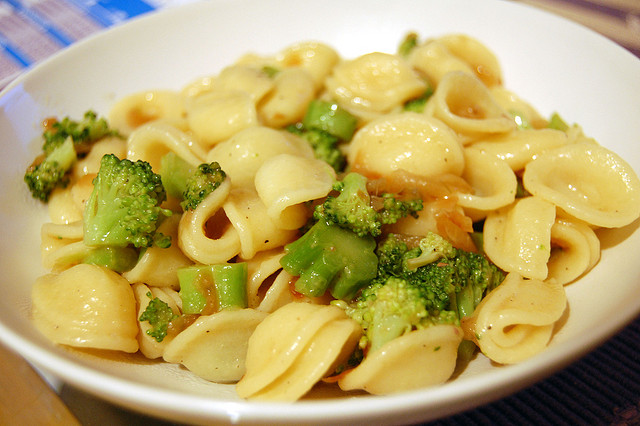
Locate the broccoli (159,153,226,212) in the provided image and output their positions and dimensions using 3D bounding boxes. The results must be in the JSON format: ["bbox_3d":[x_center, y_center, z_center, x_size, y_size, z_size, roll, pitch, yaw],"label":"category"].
[{"bbox_3d":[-0.534,-0.129,2.299,0.256,0.076,0.255,-40,43,10],"label":"broccoli"}]

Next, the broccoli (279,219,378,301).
[{"bbox_3d":[0.054,0.189,2.150,0.351,0.111,0.296,-38,72,-5],"label":"broccoli"}]

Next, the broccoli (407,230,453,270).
[{"bbox_3d":[0.405,0.160,2.159,0.212,0.077,0.135,-21,42,-28],"label":"broccoli"}]

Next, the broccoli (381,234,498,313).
[{"bbox_3d":[0.439,0.241,2.166,0.360,0.144,0.308,40,40,7],"label":"broccoli"}]

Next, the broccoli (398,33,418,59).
[{"bbox_3d":[0.455,-0.849,2.781,0.063,0.050,0.231,48,44,-20],"label":"broccoli"}]

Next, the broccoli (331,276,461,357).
[{"bbox_3d":[0.262,0.380,2.060,0.315,0.096,0.306,-29,49,-6],"label":"broccoli"}]

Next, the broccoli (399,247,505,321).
[{"bbox_3d":[0.513,0.247,2.183,0.322,0.283,0.221,35,93,4],"label":"broccoli"}]

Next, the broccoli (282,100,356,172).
[{"bbox_3d":[-0.012,-0.375,2.653,0.323,0.127,0.322,39,80,-3],"label":"broccoli"}]

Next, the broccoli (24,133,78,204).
[{"bbox_3d":[-1.290,-0.178,2.596,0.204,0.341,0.137,10,100,-10],"label":"broccoli"}]

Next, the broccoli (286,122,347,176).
[{"bbox_3d":[-0.007,-0.264,2.527,0.074,0.189,0.239,-42,78,-19],"label":"broccoli"}]

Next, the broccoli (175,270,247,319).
[{"bbox_3d":[-0.423,0.307,2.142,0.293,0.163,0.190,-1,87,6],"label":"broccoli"}]

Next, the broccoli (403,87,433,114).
[{"bbox_3d":[0.446,-0.505,2.540,0.128,0.040,0.136,-22,40,24],"label":"broccoli"}]

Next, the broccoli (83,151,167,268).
[{"bbox_3d":[-0.760,0.010,2.225,0.338,0.243,0.423,11,74,11],"label":"broccoli"}]
